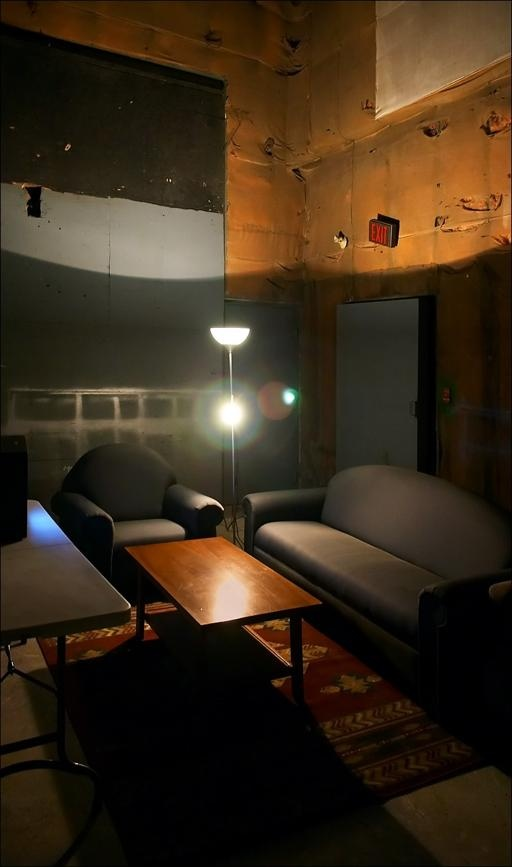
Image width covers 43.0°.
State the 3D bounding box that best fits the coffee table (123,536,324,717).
[{"bbox_3d":[-0.123,0.770,2.387,0.370,0.381,0.756,1,3,-25],"label":"coffee table"}]
